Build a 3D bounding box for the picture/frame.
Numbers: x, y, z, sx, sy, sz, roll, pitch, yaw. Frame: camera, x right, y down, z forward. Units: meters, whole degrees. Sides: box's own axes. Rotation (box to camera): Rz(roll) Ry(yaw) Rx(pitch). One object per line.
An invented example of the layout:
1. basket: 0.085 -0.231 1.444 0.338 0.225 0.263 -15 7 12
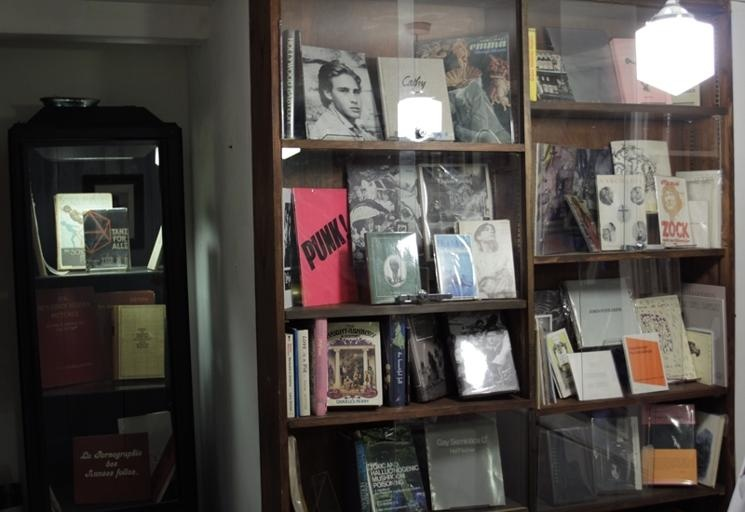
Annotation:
1. picture/frame: -1.404 -0.246 3.544 0.390 0.561 0.047 0 2 0
